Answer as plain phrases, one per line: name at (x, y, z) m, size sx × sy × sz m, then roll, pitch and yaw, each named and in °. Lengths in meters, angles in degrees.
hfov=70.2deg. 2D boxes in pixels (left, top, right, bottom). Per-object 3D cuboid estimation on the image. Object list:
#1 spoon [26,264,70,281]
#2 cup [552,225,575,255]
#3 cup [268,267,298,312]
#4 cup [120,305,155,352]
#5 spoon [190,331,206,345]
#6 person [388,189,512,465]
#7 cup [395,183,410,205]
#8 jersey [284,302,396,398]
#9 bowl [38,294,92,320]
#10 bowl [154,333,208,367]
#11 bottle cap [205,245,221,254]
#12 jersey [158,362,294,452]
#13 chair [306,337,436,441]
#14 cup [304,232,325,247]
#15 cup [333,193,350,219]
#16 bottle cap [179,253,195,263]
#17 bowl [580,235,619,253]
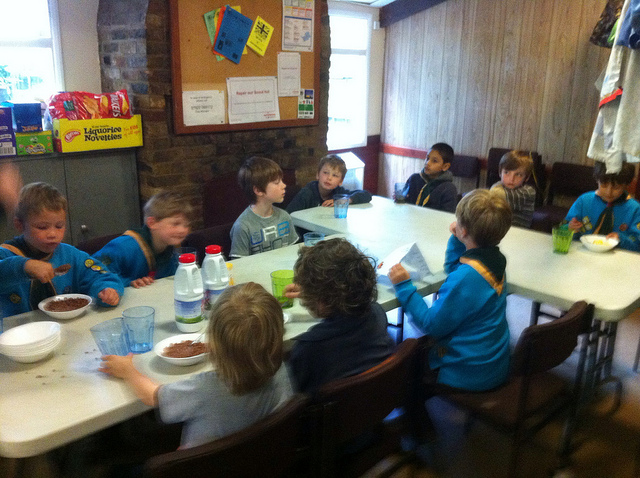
spoon at (-1.091, 0.151, 1.842) m, size 0.211 × 0.056 × 0.036 m, roll -14°, pitch 25°, yaw 38°
cup at (1.257, 0.014, 2.365) m, size 0.104 × 0.114 × 0.100 m, roll 8°, pitch 1°, yaw 0°
cup at (-0.122, 0.205, 1.840) m, size 0.129 × 0.142 × 0.126 m, roll -2°, pitch -5°, yaw 0°
cup at (-0.584, 0.288, 1.543) m, size 0.136 × 0.143 × 0.132 m, roll -2°, pitch 13°, yaw 0°
spoon at (-0.411, 0.335, 1.524) m, size 0.014 × 0.010 × 0.054 m, roll 11°, pitch 34°, yaw 19°
person at (0.560, 0.395, 2.035) m, size 0.490 × 1.161 × 0.562 m, roll -5°, pitch 13°, yaw -23°
cup at (0.582, -0.317, 3.310) m, size 0.161 × 0.182 × 0.163 m, roll -2°, pitch 12°, yaw 0°
jersey at (0.064, 0.354, 1.412) m, size 0.225 × 0.206 × 0.122 m, roll -18°, pitch 33°, yaw -27°
bowl at (-0.948, 0.258, 1.697) m, size 0.174 × 0.053 × 0.150 m, roll -6°, pitch 18°, yaw -11°
bowl at (-0.451, 0.366, 1.483) m, size 0.159 × 0.043 × 0.179 m, roll -8°, pitch 18°, yaw -16°
bottle cap at (-0.390, 0.045, 1.664) m, size 0.039 × 0.018 × 0.038 m, roll -5°, pitch 16°, yaw -16°
jersey at (-0.274, 0.496, 1.381) m, size 0.411 × 0.376 × 0.208 m, roll -4°, pitch 44°, yaw -22°
chair at (0.128, 0.472, 1.404) m, size 0.267 × 0.325 × 0.280 m, roll -19°, pitch 29°, yaw -27°
cup at (-0.029, 0.001, 2.165) m, size 0.072 × 0.049 × 0.071 m, roll 0°, pitch 14°, yaw 0°
cup at (0.133, -0.205, 2.913) m, size 0.138 × 0.156 × 0.136 m, roll 0°, pitch 24°, yaw 0°
bottle cap at (-0.463, 0.068, 1.583) m, size 0.049 × 0.027 × 0.042 m, roll 7°, pitch 20°, yaw 26°
bowl at (1.452, 0.020, 2.388) m, size 0.117 × 0.039 × 0.114 m, roll -1°, pitch 19°, yaw 0°
